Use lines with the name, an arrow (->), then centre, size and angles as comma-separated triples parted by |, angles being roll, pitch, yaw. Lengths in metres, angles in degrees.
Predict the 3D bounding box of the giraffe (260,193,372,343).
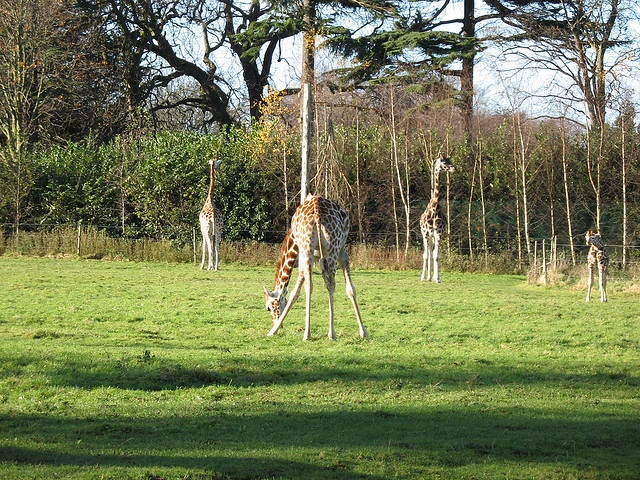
giraffe -> -0.199, 0.736, 33.862 | 2.842, 4.140, 1.835 | 1, 13, 1
